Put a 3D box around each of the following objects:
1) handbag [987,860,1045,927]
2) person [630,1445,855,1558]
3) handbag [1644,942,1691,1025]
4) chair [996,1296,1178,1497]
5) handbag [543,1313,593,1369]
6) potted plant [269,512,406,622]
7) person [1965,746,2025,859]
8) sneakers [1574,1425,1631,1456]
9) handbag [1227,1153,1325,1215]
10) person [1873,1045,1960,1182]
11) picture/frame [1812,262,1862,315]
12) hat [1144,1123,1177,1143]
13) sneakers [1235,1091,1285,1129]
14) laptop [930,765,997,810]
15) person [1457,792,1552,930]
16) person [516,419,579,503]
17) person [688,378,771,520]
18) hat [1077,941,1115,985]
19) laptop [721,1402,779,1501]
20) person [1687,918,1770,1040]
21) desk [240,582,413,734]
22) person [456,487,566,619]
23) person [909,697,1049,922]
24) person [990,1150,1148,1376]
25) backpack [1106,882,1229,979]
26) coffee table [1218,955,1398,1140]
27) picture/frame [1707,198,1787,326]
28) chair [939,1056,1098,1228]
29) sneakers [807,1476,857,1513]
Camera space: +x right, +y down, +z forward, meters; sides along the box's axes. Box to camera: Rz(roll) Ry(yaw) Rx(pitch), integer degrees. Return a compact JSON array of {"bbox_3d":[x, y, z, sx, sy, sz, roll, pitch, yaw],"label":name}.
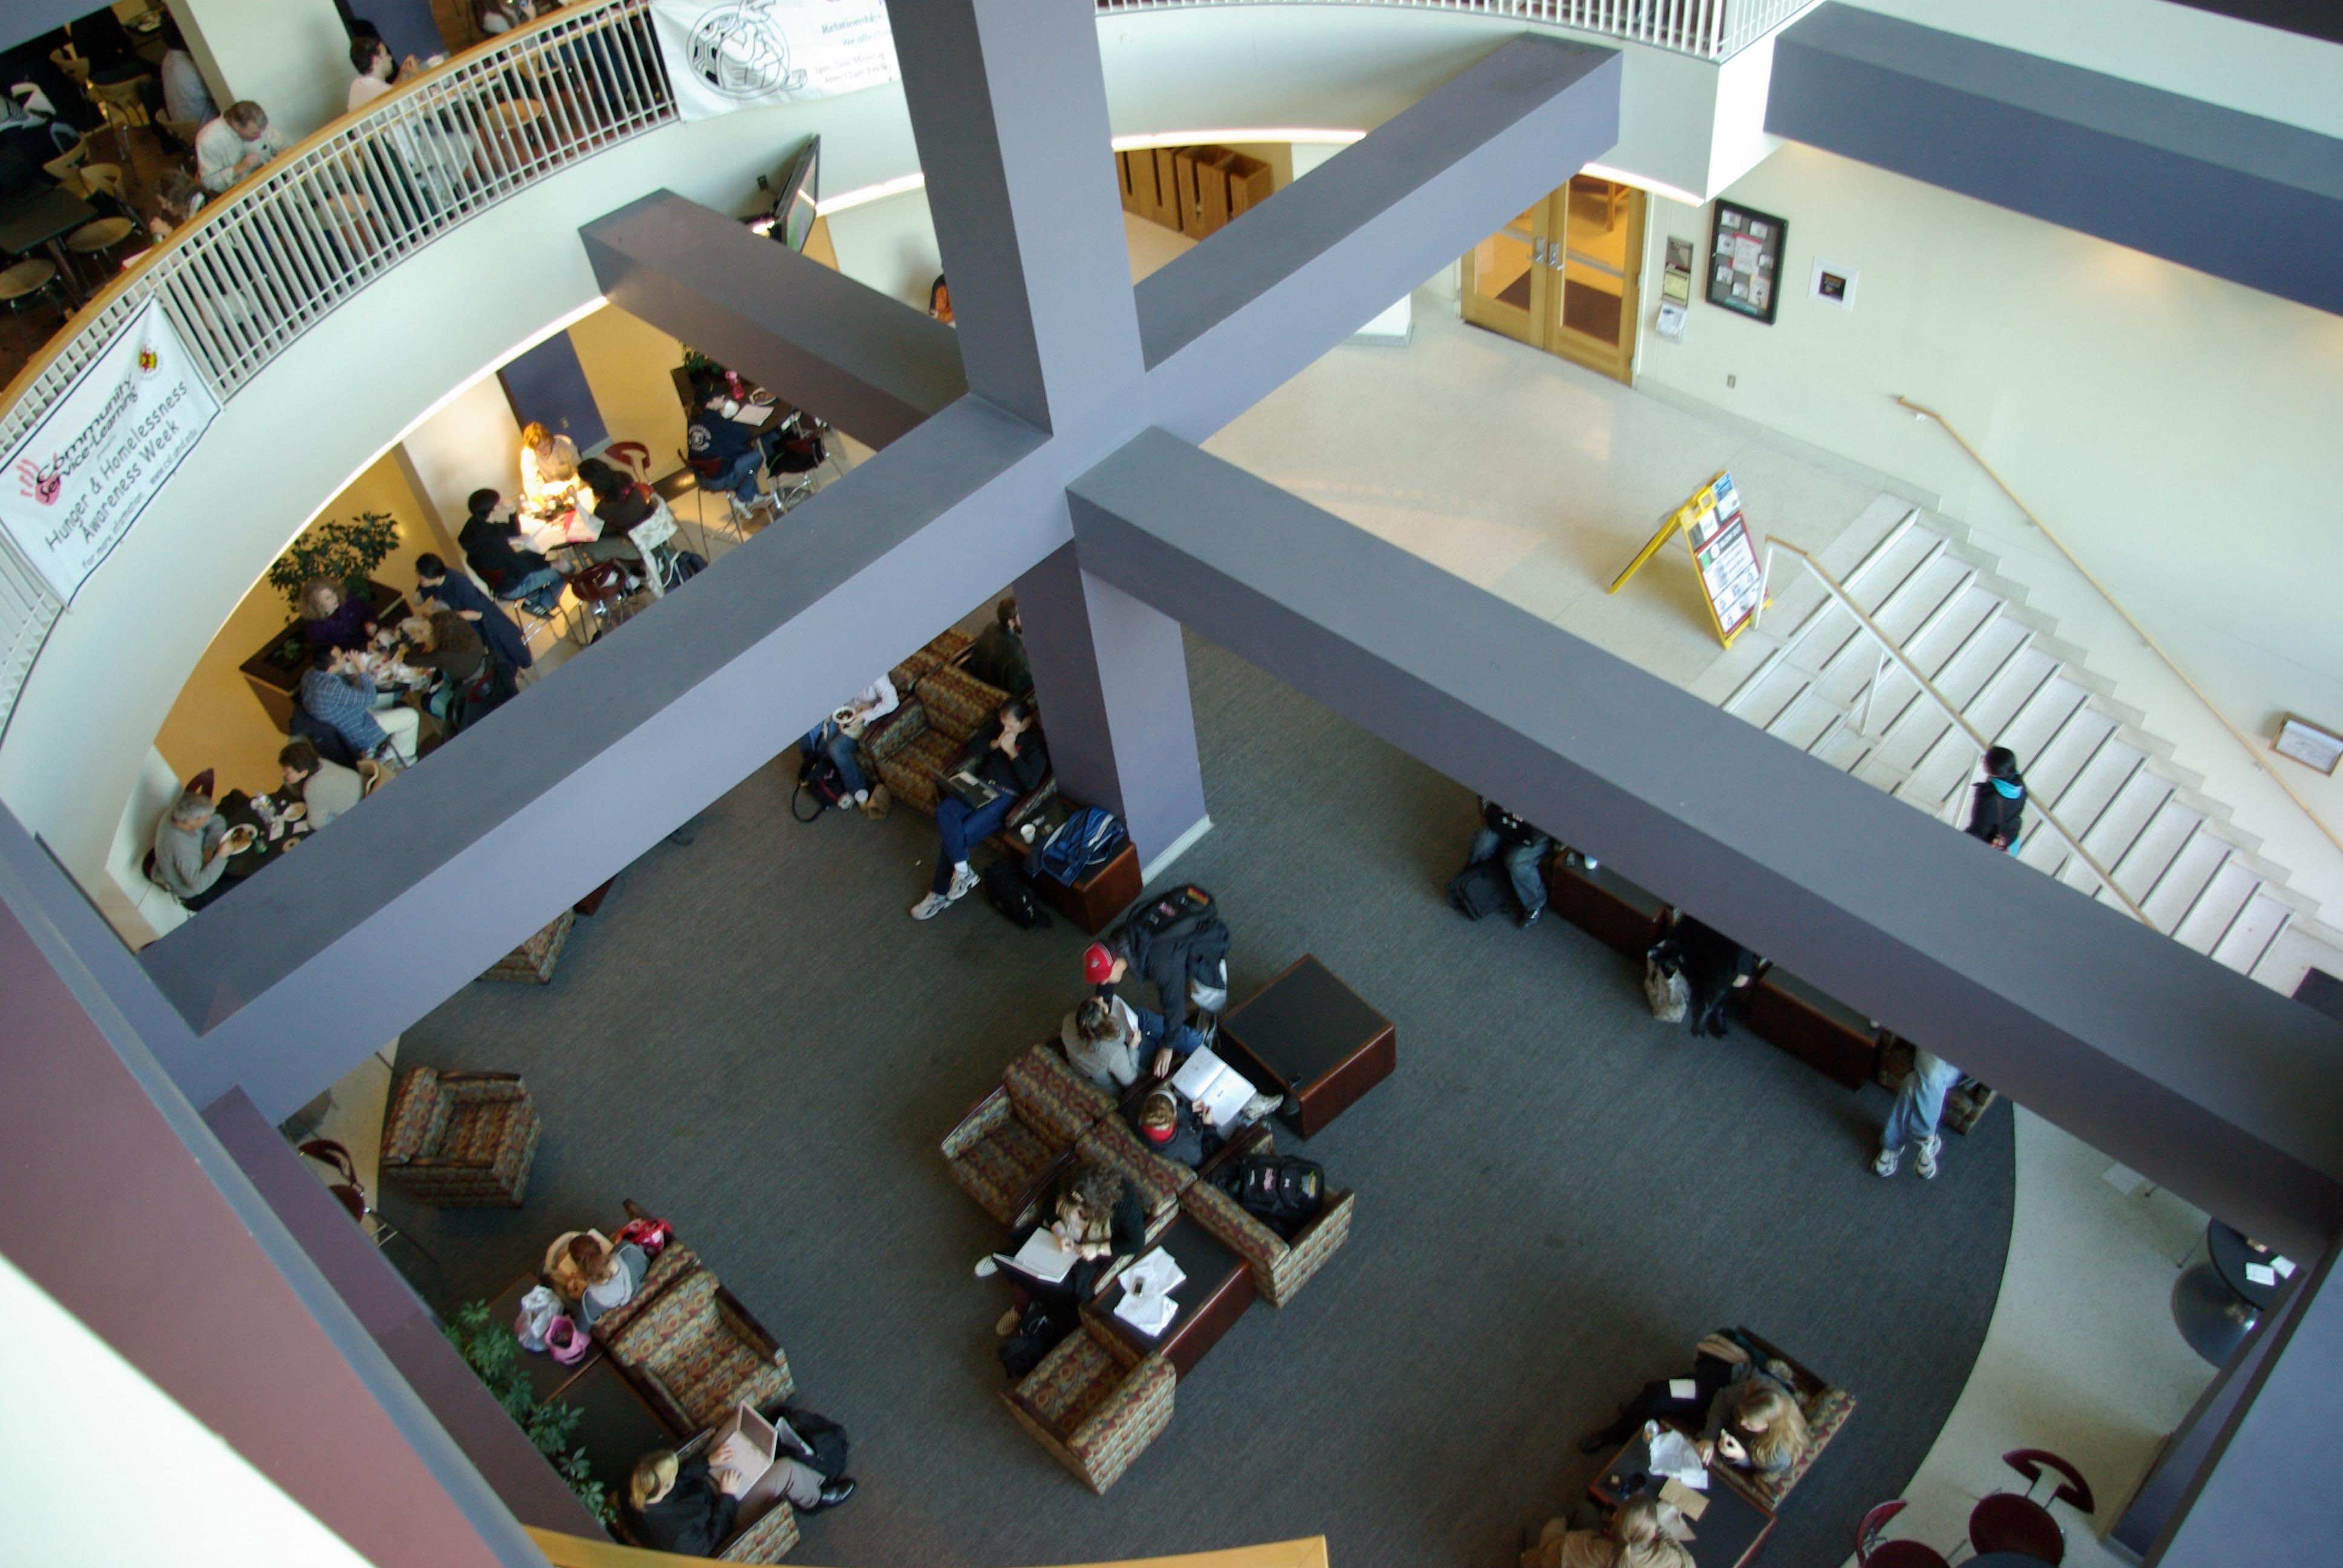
[{"bbox_3d":[-1.252,0.857,13.255,0.339,0.253,0.330,39,-18,32],"label":"handbag"},{"bbox_3d":[-2.755,4.478,10.253,1.289,0.694,0.487,16,-1,-25],"label":"person"},{"bbox_3d":[3.692,1.476,12.263,0.454,0.227,0.353,72,-4,-53],"label":"handbag"},{"bbox_3d":[-0.498,3.978,10.688,1.040,1.045,0.674,35,-22,33],"label":"chair"},{"bbox_3d":[-4.004,3.640,10.855,0.278,0.345,0.127,-6,-8,-7],"label":"handbag"},{"bbox_3d":[-7.627,-1.961,14.935,0.917,0.793,0.622,54,-14,25],"label":"potted plant"},{"bbox_3d":[6.267,0.066,12.490,0.371,0.766,1.143,14,-1,26],"label":"person"},{"bbox_3d":[2.743,4.168,10.493,0.418,0.120,0.123,-29,-8,32],"label":"sneakers"},{"bbox_3d":[0.725,2.705,11.226,0.502,0.413,0.247,8,-40,7],"label":"handbag"},{"bbox_3d":[5.132,2.302,11.384,0.418,0.883,0.981,14,-1,26],"label":"person"},{"bbox_3d":[6.108,-4.569,15.209,0.399,0.371,0.303,15,-1,31],"label":"picture/frame"},{"bbox_3d":[-0.095,2.387,11.275,0.170,0.143,0.282,16,-1,10],"label":"hat"},{"bbox_3d":[0.635,2.311,11.783,0.169,0.286,0.262,35,2,28],"label":"sneakers"},{"bbox_3d":[-1.682,0.025,13.329,0.361,0.361,0.108,49,14,25],"label":"laptop"},{"bbox_3d":[2.527,0.620,12.468,0.445,0.578,0.978,34,-6,15],"label":"person"},{"bbox_3d":[-5.942,-3.169,15.807,0.580,0.836,0.250,-18,8,13],"label":"person"},{"bbox_3d":[-4.343,-3.340,16.526,0.896,1.283,0.531,24,29,29],"label":"person"},{"bbox_3d":[-0.554,1.338,12.136,0.217,0.295,0.779,15,0,-2],"label":"hat"},{"bbox_3d":[-2.676,4.161,10.314,0.369,0.401,0.250,21,-36,19],"label":"laptop"},{"bbox_3d":[4.048,1.475,12.077,0.594,0.802,0.393,15,-1,-31],"label":"person"},{"bbox_3d":[-7.535,-1.097,14.709,0.621,1.290,0.884,29,-20,10],"label":"desk"},{"bbox_3d":[-6.138,-2.129,15.521,0.753,0.803,1.493,-115,-164,-49],"label":"person"},{"bbox_3d":[-1.554,0.248,13.454,0.605,1.071,1.279,42,-17,6],"label":"person"},{"bbox_3d":[-0.719,3.255,11.266,1.019,1.352,0.482,36,-4,15],"label":"person"},{"bbox_3d":[-0.021,0.930,12.242,0.637,0.786,0.320,19,-38,50],"label":"backpack"},{"bbox_3d":[0.962,1.834,11.925,1.150,1.111,0.711,42,-24,29],"label":"coffee table"},{"bbox_3d":[5.439,-4.975,15.525,0.758,0.106,1.052,38,-26,30],"label":"picture/frame"},{"bbox_3d":[-1.074,2.568,11.678,0.584,0.789,0.801,45,-13,7],"label":"chair"},{"bbox_3d":[-2.197,4.589,10.751,0.137,0.391,0.158,58,-17,22],"label":"sneakers"}]
